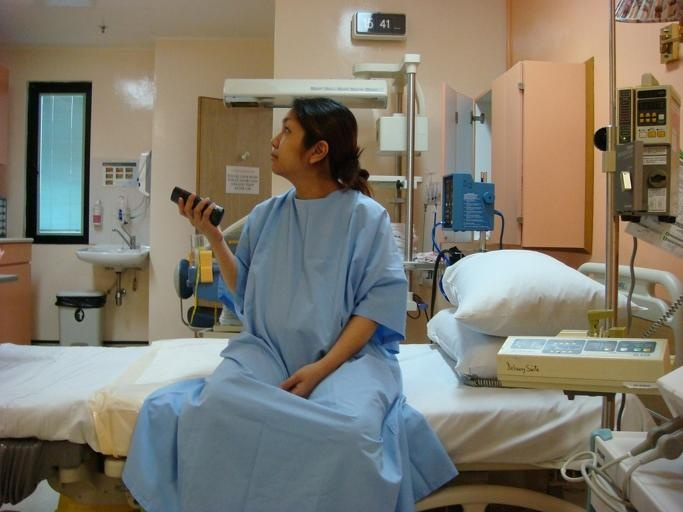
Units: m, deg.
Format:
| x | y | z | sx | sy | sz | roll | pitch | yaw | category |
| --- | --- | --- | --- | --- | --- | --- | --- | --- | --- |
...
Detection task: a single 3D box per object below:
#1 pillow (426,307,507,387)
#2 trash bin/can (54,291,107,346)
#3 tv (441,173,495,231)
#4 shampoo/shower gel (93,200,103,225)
| x | y | z | sx | sy | sz | roll | pitch | yaw | category |
| --- | --- | --- | --- | --- | --- | --- | --- | --- | --- |
| 0.529 | 0.342 | 2.552 | 0.201 | 0.106 | 0.336 | 1 | 13 | -5 | pillow |
| -2.221 | 0.498 | 5.560 | 0.450 | 0.620 | 0.407 | 0 | 0 | -7 | trash bin/can |
| 0.635 | -0.271 | 3.227 | 0.271 | 0.344 | 0.223 | -1 | 4 | -9 | tv |
| -2.183 | -0.378 | 5.628 | 0.086 | 0.243 | 0.077 | -4 | 10 | -25 | shampoo/shower gel |
